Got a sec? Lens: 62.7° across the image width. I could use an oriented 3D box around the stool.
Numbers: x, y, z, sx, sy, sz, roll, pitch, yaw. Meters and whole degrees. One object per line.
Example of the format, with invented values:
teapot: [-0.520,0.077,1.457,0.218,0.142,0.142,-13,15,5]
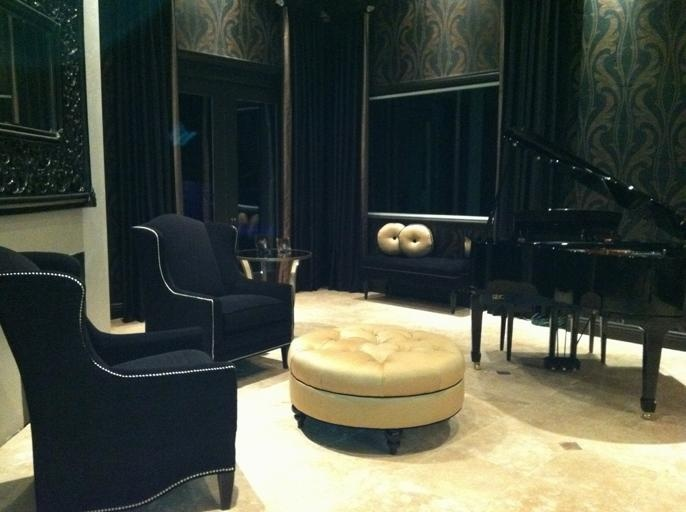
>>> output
stool: [0.292,0.678,3.285,0.722,0.385,0.735,2,2,41]
